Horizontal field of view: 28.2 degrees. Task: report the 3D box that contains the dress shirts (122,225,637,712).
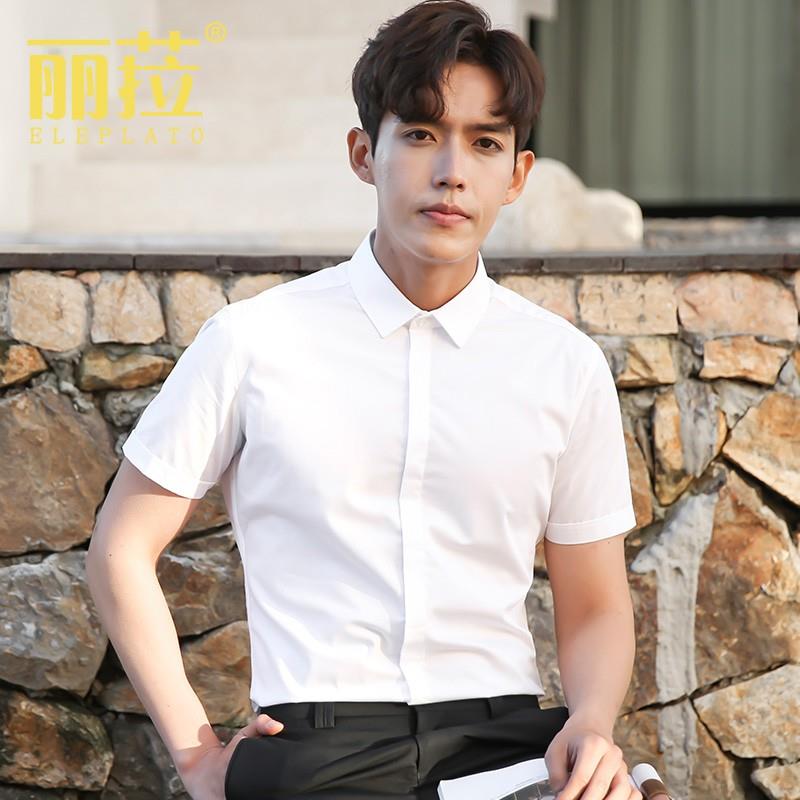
[{"bbox_3d":[-0.029,0.158,3.504,1.113,0.972,0.454,1,6,-9],"label":"dress shirts"}]
